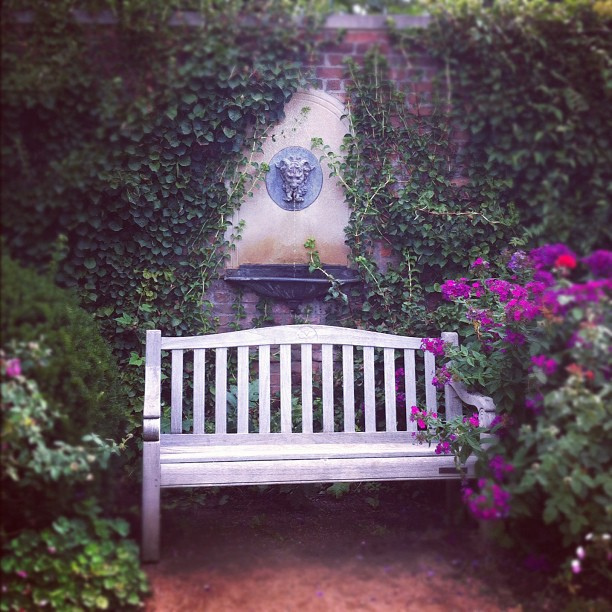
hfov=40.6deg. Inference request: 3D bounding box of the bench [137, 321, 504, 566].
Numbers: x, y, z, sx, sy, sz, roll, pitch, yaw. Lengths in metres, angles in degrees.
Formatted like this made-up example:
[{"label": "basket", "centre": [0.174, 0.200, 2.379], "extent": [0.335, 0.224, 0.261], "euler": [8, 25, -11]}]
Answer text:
[{"label": "bench", "centre": [0.041, 0.531, 3.384], "extent": [1.399, 0.864, 0.489], "euler": [1, 6, -10]}]
